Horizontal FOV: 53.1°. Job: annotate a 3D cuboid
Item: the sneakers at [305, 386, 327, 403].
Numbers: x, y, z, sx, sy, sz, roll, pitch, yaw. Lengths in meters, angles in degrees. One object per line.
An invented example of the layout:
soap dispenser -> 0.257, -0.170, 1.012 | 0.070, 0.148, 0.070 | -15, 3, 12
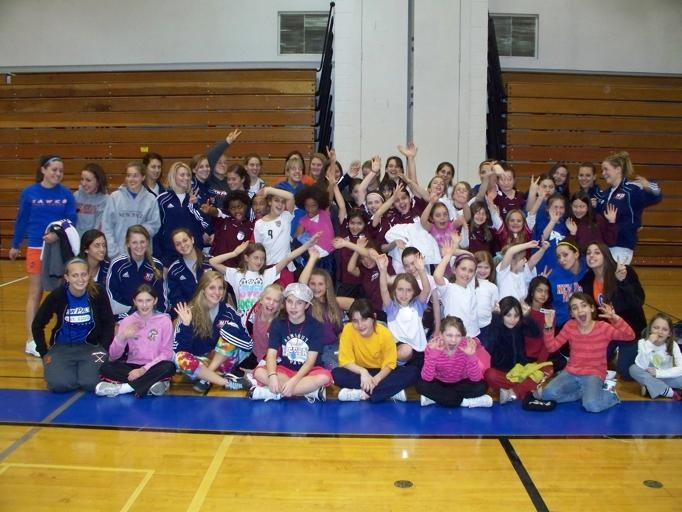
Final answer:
sneakers -> -0.195, 1.118, 5.497 | 0.192, 0.088, 0.084 | -1, 7, 28

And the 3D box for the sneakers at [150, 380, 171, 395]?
sneakers -> -1.478, 1.074, 5.602 | 0.072, 0.073, 0.167 | -19, -6, 27

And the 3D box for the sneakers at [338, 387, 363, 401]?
sneakers -> 0.076, 1.115, 5.495 | 0.230, 0.083, 0.099 | -2, 5, -14

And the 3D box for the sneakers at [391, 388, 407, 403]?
sneakers -> 0.478, 1.123, 5.537 | 0.149, 0.094, 0.060 | -2, 7, -21

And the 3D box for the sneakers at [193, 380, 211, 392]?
sneakers -> -1.157, 1.073, 5.668 | 0.135, 0.091, 0.107 | -1, 7, -11

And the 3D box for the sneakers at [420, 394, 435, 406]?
sneakers -> 0.694, 1.148, 5.466 | 0.122, 0.090, 0.049 | 1, 7, 3

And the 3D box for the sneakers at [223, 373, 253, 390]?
sneakers -> -0.859, 1.035, 5.674 | 0.295, 0.107, 0.129 | 1, -3, -5

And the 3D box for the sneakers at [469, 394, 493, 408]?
sneakers -> 1.109, 1.149, 5.468 | 0.218, 0.080, 0.096 | -2, 7, 8

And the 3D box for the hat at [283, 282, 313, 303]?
hat -> -0.362, 0.305, 5.662 | 0.238, 0.168, 0.205 | -1, 7, -10

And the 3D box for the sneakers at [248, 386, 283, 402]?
sneakers -> -0.636, 1.110, 5.513 | 0.296, 0.112, 0.140 | 12, 3, 12

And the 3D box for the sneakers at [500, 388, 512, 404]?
sneakers -> 1.335, 1.125, 5.538 | 0.168, 0.098, 0.066 | -5, 9, -37

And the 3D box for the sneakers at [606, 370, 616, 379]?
sneakers -> 2.260, 0.990, 5.710 | 0.061, 0.084, 0.196 | -2, -11, 8
